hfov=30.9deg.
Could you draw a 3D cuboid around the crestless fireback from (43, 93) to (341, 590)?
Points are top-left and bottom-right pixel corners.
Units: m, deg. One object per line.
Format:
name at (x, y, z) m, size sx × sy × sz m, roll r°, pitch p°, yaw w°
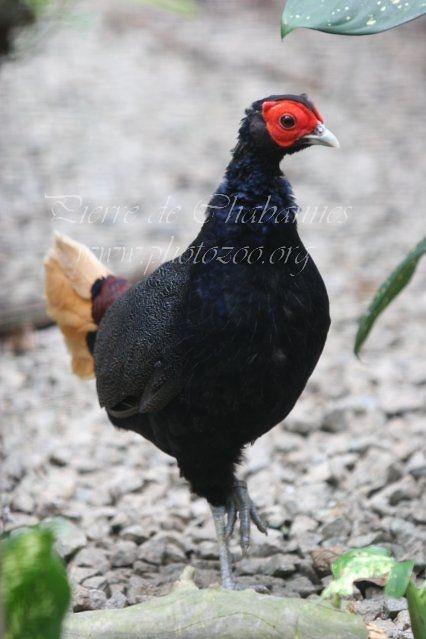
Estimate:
crestless fireback at (0.030, 0.041, 2.042) m, size 0.660 × 1.244 × 0.408 m, roll 29°, pitch 34°, yaw 29°
